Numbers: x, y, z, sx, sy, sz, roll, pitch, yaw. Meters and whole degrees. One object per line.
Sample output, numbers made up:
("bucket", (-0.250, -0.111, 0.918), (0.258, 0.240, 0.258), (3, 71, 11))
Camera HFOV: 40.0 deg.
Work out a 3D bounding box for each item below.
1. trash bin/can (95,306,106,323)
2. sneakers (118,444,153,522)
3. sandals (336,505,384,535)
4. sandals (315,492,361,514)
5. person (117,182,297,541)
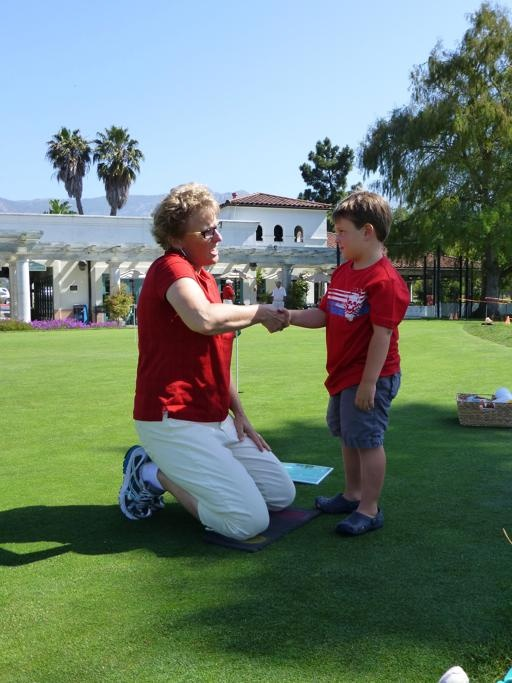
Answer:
("trash bin/can", (-6.937, -1.227, 31.745), (0.563, 0.685, 0.438), (-4, 5, -43))
("sneakers", (-0.575, 0.714, 3.607), (0.195, 0.374, 0.151), (12, 8, 29))
("sandals", (0.496, 0.855, 3.338), (0.094, 0.060, 0.201), (-14, -11, 42))
("sandals", (0.410, 0.838, 3.653), (0.196, 0.067, 0.096), (1, -3, 7))
("person", (-0.218, 0.092, 3.348), (0.689, 1.635, 0.751), (-3, 4, -29))
